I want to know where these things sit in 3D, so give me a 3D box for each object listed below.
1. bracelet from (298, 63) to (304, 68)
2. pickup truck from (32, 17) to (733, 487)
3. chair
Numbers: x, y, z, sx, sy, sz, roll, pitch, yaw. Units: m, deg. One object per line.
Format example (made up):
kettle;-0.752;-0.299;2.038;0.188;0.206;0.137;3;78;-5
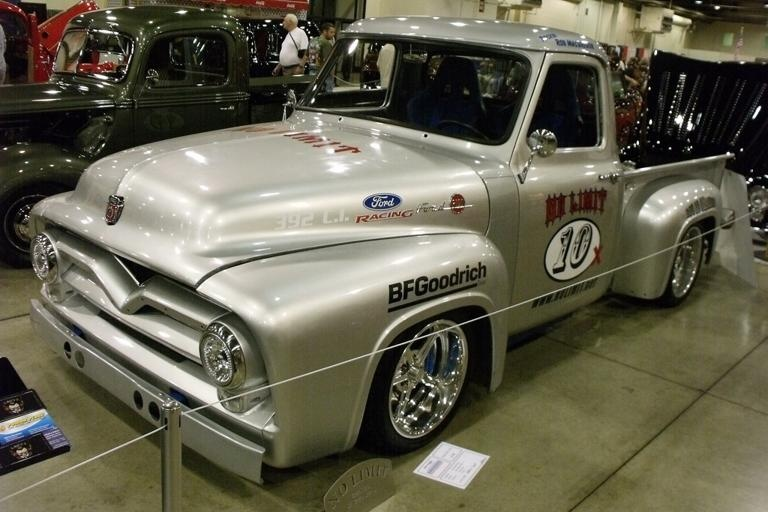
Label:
bracelet;-1.370;-3.181;8.971;0.104;0.027;0.099;-8;15;-32
pickup truck;0.293;-0.272;4.111;4.643;1.990;2.646;-14;27;-36
chair;0.826;-1.073;4.126;0.980;0.801;0.416;5;-21;-6
